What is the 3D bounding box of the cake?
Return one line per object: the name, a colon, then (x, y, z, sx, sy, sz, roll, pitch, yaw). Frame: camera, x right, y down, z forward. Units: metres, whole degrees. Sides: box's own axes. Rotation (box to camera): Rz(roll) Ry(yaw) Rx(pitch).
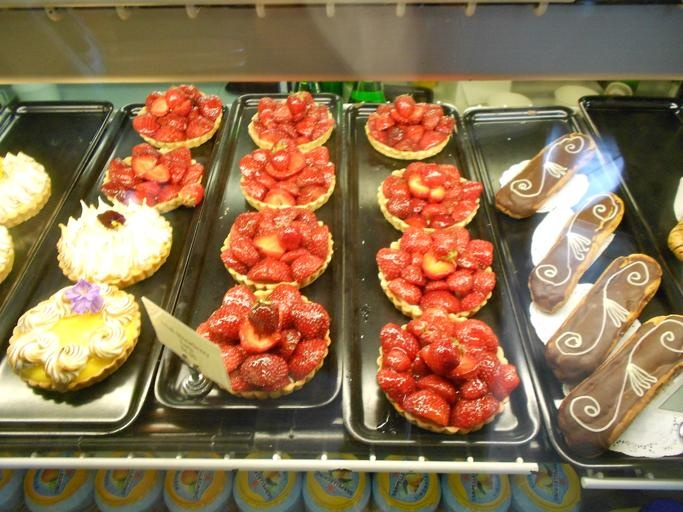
cake: (-1.301, 0.135, 2.734, 0.693, 0.401, 1.232, 9, 63, 7)
